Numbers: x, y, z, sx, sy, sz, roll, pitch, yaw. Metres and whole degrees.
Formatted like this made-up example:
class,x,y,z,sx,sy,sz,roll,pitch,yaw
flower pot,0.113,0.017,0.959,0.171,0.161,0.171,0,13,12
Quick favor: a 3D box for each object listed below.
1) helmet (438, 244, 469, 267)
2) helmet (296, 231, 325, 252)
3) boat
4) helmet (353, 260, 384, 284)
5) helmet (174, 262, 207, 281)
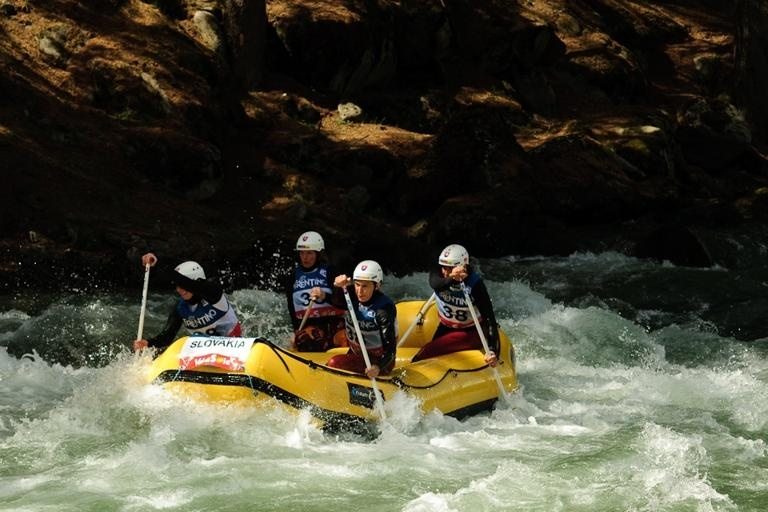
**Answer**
class,x,y,z,sx,sy,sz,roll,pitch,yaw
helmet,1.119,0.006,13.696,0.469,0.375,0.363,-2,-5,21
helmet,-1.261,-0.232,14.252,0.433,0.340,0.266,1,-5,-9
boat,-0.554,1.901,12.915,3.324,0.748,2.477,-2,4,-44
helmet,-0.242,0.250,13.101,0.339,0.311,0.435,5,14,17
helmet,-3.088,0.237,13.307,0.438,0.302,0.486,1,-5,-11
